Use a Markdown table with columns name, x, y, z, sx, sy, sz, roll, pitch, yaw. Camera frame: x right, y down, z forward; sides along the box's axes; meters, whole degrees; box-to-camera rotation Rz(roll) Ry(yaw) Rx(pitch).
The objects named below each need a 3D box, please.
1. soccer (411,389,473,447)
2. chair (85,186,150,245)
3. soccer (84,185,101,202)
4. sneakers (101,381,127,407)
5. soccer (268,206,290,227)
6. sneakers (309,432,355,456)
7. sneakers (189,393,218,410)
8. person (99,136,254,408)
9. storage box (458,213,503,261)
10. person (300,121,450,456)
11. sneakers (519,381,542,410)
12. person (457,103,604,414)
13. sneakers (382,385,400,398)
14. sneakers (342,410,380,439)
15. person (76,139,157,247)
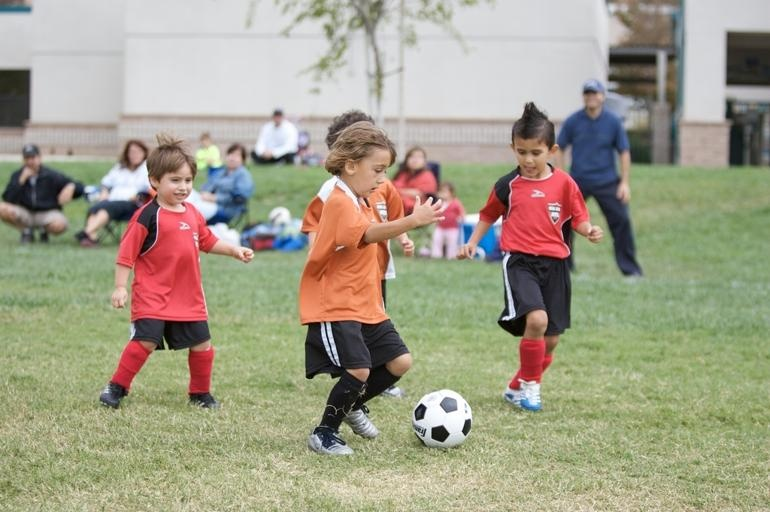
| name | x | y | z | sx | sy | sz | roll | pitch | yaw |
| --- | --- | --- | --- | --- | --- | --- | --- | --- | --- |
| soccer | 0.375 | 1.061 | 7.303 | 0.334 | 0.382 | 0.329 | -37 | 63 | -25 |
| chair | -2.643 | -0.426 | 11.127 | 0.571 | 0.722 | 0.538 | -1 | 18 | -34 |
| soccer | -3.107 | -0.663 | 12.022 | 0.148 | 0.193 | 0.195 | 0 | -28 | -21 |
| sneakers | -1.820 | 0.948 | 7.596 | 0.178 | 0.158 | 0.116 | 1 | 3 | -16 |
| soccer | -1.224 | -0.454 | 13.284 | 0.244 | 0.289 | 0.299 | -6 | -1 | -3 |
| sneakers | -0.336 | 1.190 | 7.168 | 0.255 | 0.108 | 0.137 | 4 | -2 | 23 |
| sneakers | -1.233 | 1.005 | 7.716 | 0.181 | 0.076 | 0.095 | 3 | 1 | 4 |
| person | -1.482 | 0.106 | 7.726 | 0.862 | 1.851 | 0.362 | 1 | 3 | -12 |
| storage box | 1.132 | -0.179 | 13.006 | 0.660 | 0.555 | 0.521 | 0 | 2 | -5 |
| person | -0.152 | 0.204 | 7.183 | 0.771 | 2.128 | 0.486 | 2 | 3 | 4 |
| sneakers | 1.014 | 0.968 | 7.783 | 0.159 | 0.187 | 0.143 | 2 | 3 | -2 |
| person | 1.046 | -0.011 | 7.910 | 0.852 | 2.129 | 0.517 | 2 | 3 | 3 |
| sneakers | 0.068 | 0.971 | 8.020 | 0.157 | 0.076 | 0.065 | -2 | 2 | 11 |
| sneakers | -0.161 | 1.121 | 7.384 | 0.219 | 0.159 | 0.074 | 30 | 7 | -22 |
| person | -2.912 | -0.670 | 12.189 | 0.582 | 1.318 | 1.082 | 7 | -2 | 22 |
